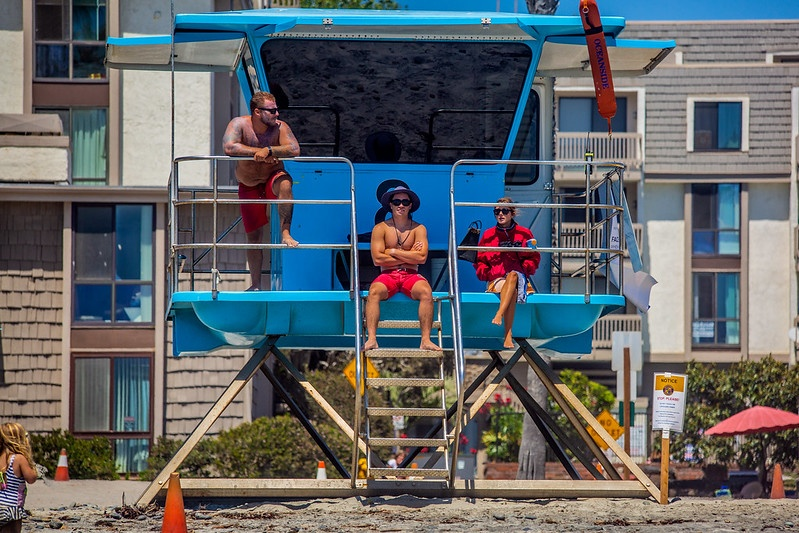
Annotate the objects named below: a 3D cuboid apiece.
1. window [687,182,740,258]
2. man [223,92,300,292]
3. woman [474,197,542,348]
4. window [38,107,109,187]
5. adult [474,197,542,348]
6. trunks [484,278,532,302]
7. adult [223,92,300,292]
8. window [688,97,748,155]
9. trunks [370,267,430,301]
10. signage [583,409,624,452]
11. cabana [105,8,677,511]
[{"bbox_3d":[10.882,-1.603,82.725,1.734,3.069,0.125,1,-24,5],"label":"window"},{"bbox_3d":[-3.236,-1.914,58.289,1.614,4.929,1.428,-2,-2,24],"label":"man"},{"bbox_3d":[2.623,0.133,58.086,1.434,3.725,0.922,-1,-2,3],"label":"woman"},{"bbox_3d":[-9.438,-3.499,70.332,2.395,3.056,0.137,0,3,-1],"label":"window"},{"bbox_3d":[2.623,0.132,58.079,1.438,3.725,0.905,-1,-2,3],"label":"adult"},{"bbox_3d":[2.691,0.528,58.105,0.803,0.354,0.641,2,-11,3],"label":"trunks"},{"bbox_3d":[-3.231,-1.915,58.280,1.621,4.929,1.467,-2,-2,23],"label":"adult"},{"bbox_3d":[10.960,-4.998,82.689,1.952,1.924,0.106,0,7,11],"label":"window"},{"bbox_3d":[0.023,0.405,57.522,1.091,0.733,0.300,-1,-2,-3],"label":"trunks"},{"bbox_3d":[5.670,4.522,66.036,0.775,1.042,0.126,1,-33,7],"label":"signage"},{"bbox_3d":[-0.356,-0.339,63.720,12.817,11.302,12.381,0,-8,-5],"label":"cabana"}]
